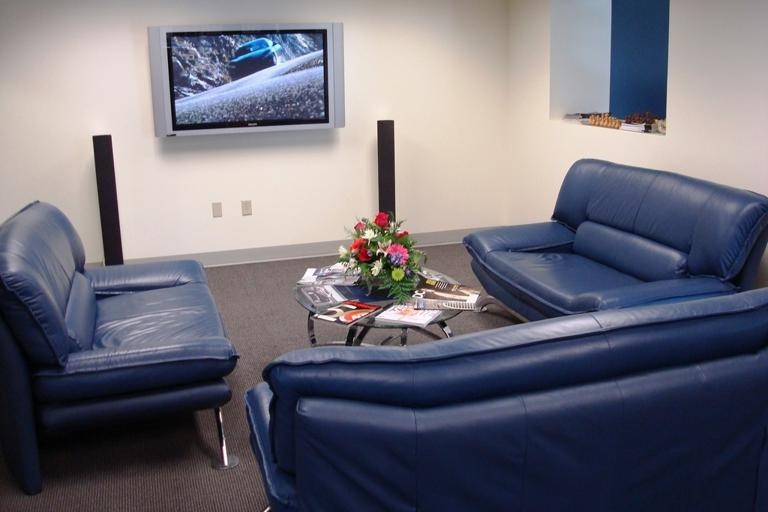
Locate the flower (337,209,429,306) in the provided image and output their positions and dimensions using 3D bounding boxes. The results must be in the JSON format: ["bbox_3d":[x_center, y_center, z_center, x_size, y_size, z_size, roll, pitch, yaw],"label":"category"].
[{"bbox_3d":[0.042,0.087,3.850,0.596,0.522,0.585,-9,33,-19],"label":"flower"}]

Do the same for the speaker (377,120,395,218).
[{"bbox_3d":[0.018,-0.966,5.938,0.224,0.970,0.143,-4,10,3],"label":"speaker"}]
